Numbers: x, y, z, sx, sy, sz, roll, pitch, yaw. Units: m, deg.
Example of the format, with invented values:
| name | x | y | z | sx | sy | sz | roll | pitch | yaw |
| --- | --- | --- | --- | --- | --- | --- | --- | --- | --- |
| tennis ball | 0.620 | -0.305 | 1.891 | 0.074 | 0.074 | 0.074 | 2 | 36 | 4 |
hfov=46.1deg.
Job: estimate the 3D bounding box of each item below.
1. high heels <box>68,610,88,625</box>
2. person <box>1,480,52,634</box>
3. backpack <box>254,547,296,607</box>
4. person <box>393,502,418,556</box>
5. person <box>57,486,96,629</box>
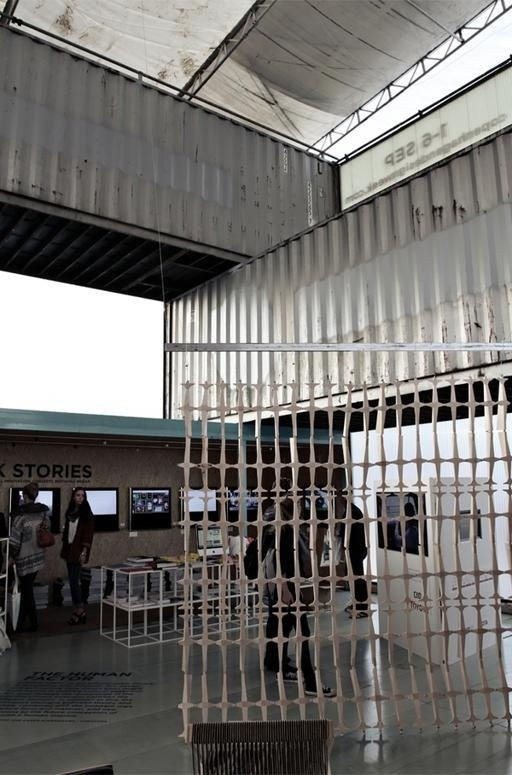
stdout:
| name | x | y | z | sx | sy | sz | roll | pitch | yaw |
| --- | --- | --- | --- | --- | --- | --- | --- | --- | --- |
| high heels | -2.097 | 2.688 | 7.035 | 0.100 | 0.160 | 0.253 | -6 | -34 | 12 |
| person | -2.570 | 1.895 | 6.789 | 0.451 | 1.612 | 0.674 | 2 | -9 | -24 |
| backpack | 0.075 | 1.439 | 4.574 | 0.069 | 0.310 | 0.347 | -11 | -52 | 30 |
| person | 1.495 | 1.390 | 5.997 | 0.236 | 0.505 | 1.632 | -4 | -10 | 14 |
| person | -2.251 | 2.069 | 7.544 | 0.350 | 1.556 | 1.792 | 1 | -10 | -15 |
